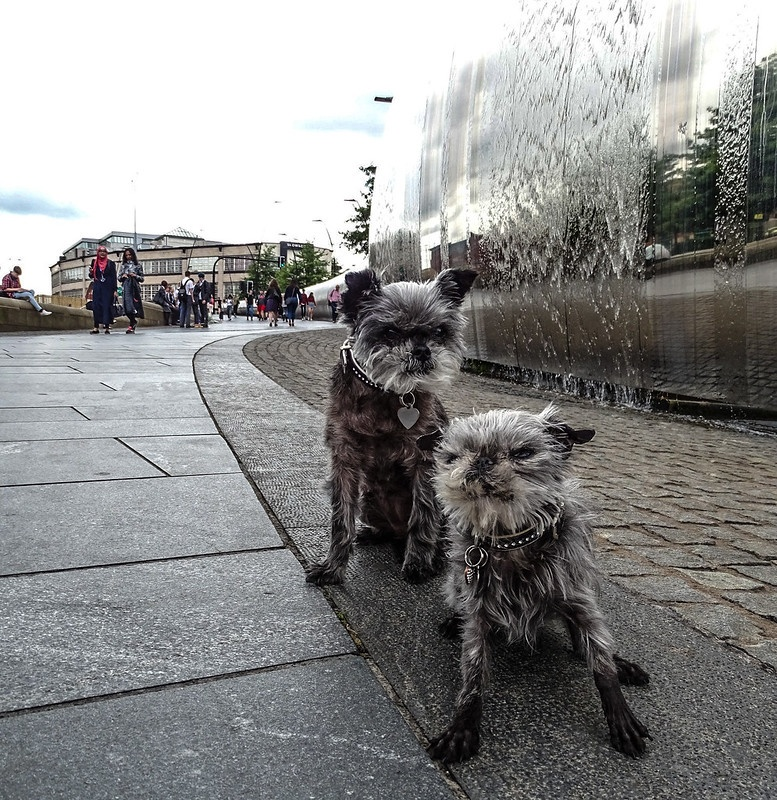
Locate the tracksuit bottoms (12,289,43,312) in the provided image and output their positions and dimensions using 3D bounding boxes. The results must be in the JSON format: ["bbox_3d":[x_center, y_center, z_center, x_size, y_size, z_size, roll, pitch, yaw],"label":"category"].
[{"bbox_3d":[-11.670,-3.222,21.028,1.168,0.837,0.641,-2,7,-31],"label":"tracksuit bottoms"}]

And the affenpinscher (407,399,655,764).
[{"bbox_3d":[0.392,0.455,1.835,0.575,0.854,0.537,2,6,-2],"label":"affenpinscher"}]

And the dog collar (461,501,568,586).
[{"bbox_3d":[0.349,0.415,1.876,0.263,0.102,0.215,-28,17,3],"label":"dog collar"}]
